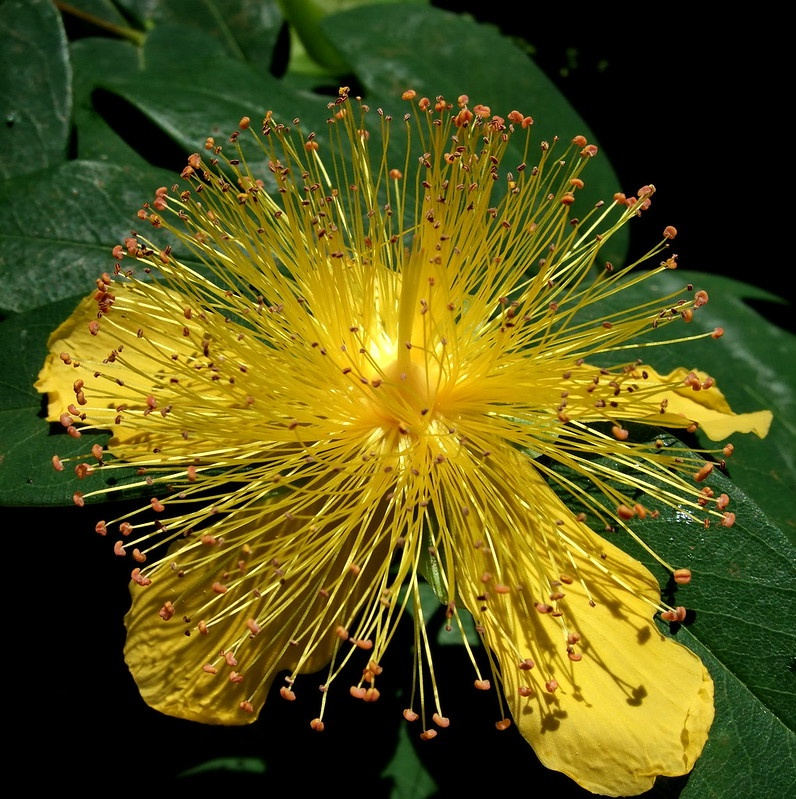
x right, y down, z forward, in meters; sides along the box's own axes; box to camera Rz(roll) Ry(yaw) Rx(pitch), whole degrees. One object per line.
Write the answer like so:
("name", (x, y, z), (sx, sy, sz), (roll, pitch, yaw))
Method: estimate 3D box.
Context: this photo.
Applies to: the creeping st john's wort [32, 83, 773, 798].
("creeping st john's wort", (0.045, 0.126, 1.277), (0.897, 0.549, 0.775), (-21, 72, 4))
